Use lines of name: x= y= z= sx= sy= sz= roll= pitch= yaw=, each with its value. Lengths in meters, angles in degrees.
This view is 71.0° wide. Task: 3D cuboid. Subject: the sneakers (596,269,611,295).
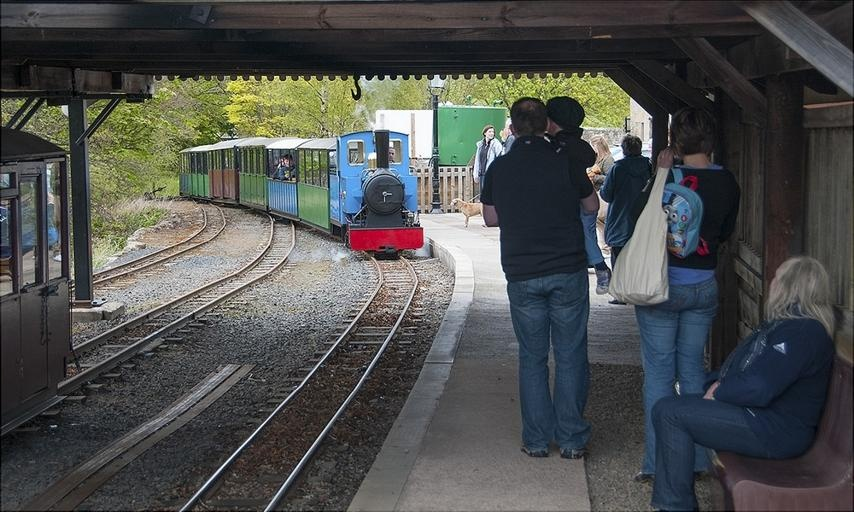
sneakers: x=1.966 y=0.285 z=6.683 sx=0.209 sy=0.256 sz=0.616 roll=-1 pitch=3 yaw=11

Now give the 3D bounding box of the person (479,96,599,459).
person: x=1.003 y=0.256 z=5.243 sx=0.921 sy=3.230 sz=0.451 roll=1 pitch=11 yaw=16

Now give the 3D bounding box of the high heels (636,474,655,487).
high heels: x=1.850 y=1.901 z=5.074 sx=0.153 sy=0.045 sz=0.092 roll=0 pitch=11 yaw=-3

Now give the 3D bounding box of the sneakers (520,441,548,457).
sneakers: x=0.976 y=1.730 z=5.348 sx=0.092 sy=0.103 sz=0.244 roll=1 pitch=-5 yaw=-12
